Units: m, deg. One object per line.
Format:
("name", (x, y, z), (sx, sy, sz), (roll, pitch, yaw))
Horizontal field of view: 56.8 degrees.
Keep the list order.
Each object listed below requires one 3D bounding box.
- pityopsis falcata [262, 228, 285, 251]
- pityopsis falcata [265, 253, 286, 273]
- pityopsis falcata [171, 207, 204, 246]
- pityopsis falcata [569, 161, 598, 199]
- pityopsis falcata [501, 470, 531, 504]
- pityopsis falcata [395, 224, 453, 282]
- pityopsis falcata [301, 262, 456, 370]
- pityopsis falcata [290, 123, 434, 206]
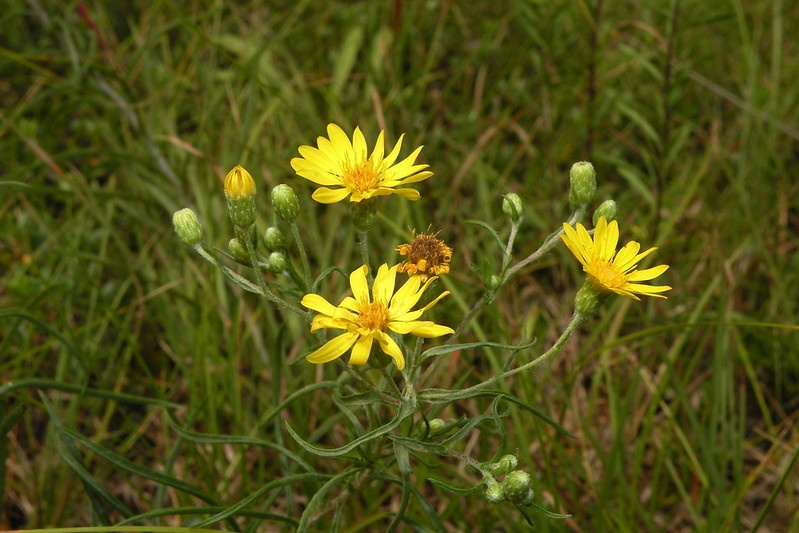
("pityopsis falcata", (-0.542, -0.124, 3.253), (0.082, 0.087, 0.113), (-5, 75, -40))
("pityopsis falcata", (-0.528, -0.023, 3.226), (0.070, 0.095, 0.078), (-1, 37, 17))
("pityopsis falcata", (-0.893, -0.166, 3.154), (0.087, 0.152, 0.109), (1, 35, 30))
("pityopsis falcata", (0.810, -0.376, 3.219), (0.099, 0.174, 0.102), (-11, 21, -10))
("pityopsis falcata", (0.475, 0.884, 2.963), (0.131, 0.091, 0.119), (14, 66, -2))
("pityopsis falcata", (0.102, -0.032, 3.253), (0.204, 0.125, 0.224), (27, 78, 12))
("pityopsis falcata", (-0.118, 0.218, 2.977), (0.466, 0.172, 0.481), (36, 58, 29))
("pityopsis falcata", (-0.191, -0.424, 3.299), (0.529, 0.560, 0.281), (-2, 82, -8))
